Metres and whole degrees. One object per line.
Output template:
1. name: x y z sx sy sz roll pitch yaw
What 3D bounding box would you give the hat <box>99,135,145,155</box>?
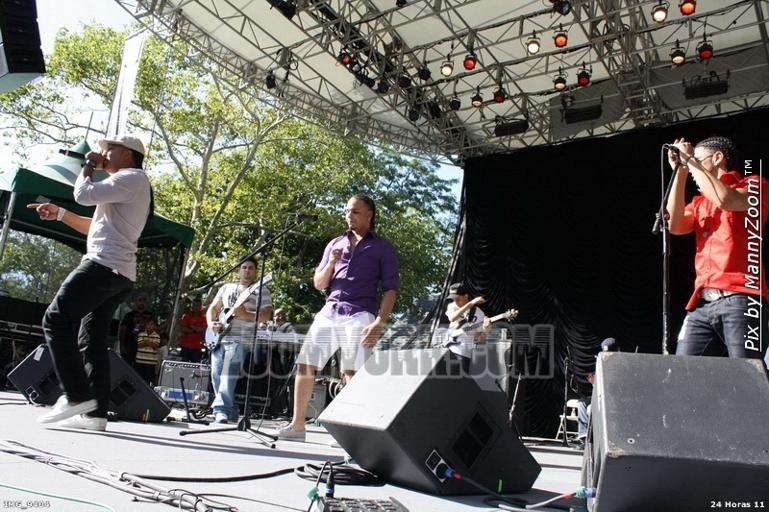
1. hat: -1.994 -0.853 4.463 0.234 0.122 0.163 12 2 -21

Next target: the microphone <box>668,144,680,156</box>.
1. microphone: 1.830 -0.665 3.716 0.056 0.019 0.057 27 22 -15

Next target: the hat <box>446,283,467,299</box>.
1. hat: 1.076 0.476 8.173 0.434 0.228 0.293 1 -2 -37

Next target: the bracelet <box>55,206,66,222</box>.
1. bracelet: -2.414 -0.310 4.327 0.044 0.115 0.084 7 -1 9

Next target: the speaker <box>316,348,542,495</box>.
1. speaker: 0.255 0.913 3.547 1.118 0.770 0.836 5 -9 -26

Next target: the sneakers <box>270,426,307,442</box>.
1. sneakers: -0.754 1.382 4.632 0.273 0.119 0.118 7 -20 -2

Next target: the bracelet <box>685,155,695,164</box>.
1. bracelet: 1.916 -0.603 3.666 0.091 0.047 0.017 9 -11 -30

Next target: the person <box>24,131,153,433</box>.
1. person: -2.126 0.132 4.258 0.639 2.163 0.545 2 -10 8

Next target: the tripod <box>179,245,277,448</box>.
1. tripod: -1.588 1.054 6.580 0.861 2.146 1.101 7 6 39

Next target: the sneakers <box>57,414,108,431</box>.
1. sneakers: -2.092 1.158 4.089 0.290 0.118 0.117 15 -23 -13

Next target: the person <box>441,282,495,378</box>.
1. person: 1.079 0.855 7.582 0.661 0.348 1.298 23 32 0
